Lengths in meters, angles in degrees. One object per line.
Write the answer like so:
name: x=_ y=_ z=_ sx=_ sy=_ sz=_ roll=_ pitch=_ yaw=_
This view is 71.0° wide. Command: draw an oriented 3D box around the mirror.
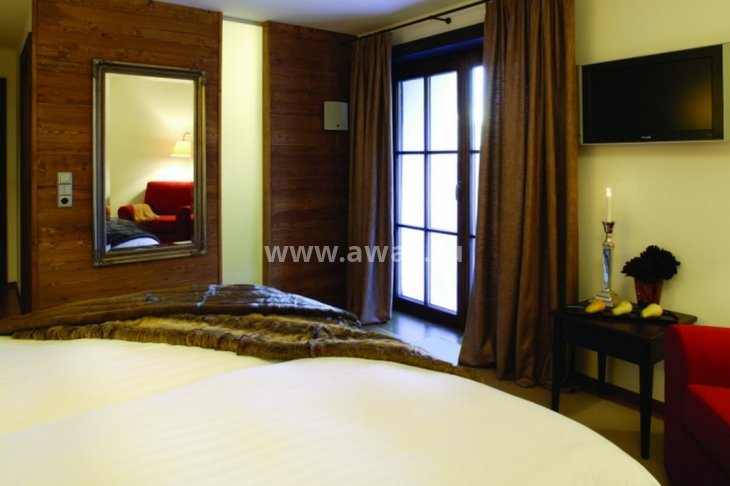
mirror: x=-1.802 y=-0.668 z=4.456 sx=0.082 sy=1.739 sz=1.098 roll=13 pitch=14 yaw=39

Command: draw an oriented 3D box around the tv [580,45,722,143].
tv: x=1.870 y=-0.950 z=3.272 sx=0.851 sy=0.498 sz=0.089 roll=2 pitch=5 yaw=40

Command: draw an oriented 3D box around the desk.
desk: x=1.691 y=0.815 z=3.300 sx=0.613 sy=0.607 sz=0.740 roll=-1 pitch=4 yaw=-27

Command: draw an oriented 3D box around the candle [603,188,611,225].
candle: x=1.658 y=-0.255 z=3.475 sx=0.056 sy=0.232 sz=0.335 roll=4 pitch=9 yaw=25

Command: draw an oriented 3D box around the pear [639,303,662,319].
pear: x=1.783 y=0.420 z=3.184 sx=0.122 sy=0.053 sz=0.083 roll=-19 pitch=25 yaw=-11

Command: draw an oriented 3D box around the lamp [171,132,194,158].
lamp: x=-1.600 y=-0.869 z=4.559 sx=0.194 sy=0.204 sz=0.230 roll=9 pitch=5 yaw=40

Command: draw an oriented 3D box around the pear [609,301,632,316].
pear: x=1.620 y=0.413 z=3.250 sx=0.139 sy=0.068 sz=0.073 roll=-18 pitch=23 yaw=4

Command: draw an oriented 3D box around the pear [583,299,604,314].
pear: x=1.489 y=0.405 z=3.300 sx=0.131 sy=0.053 sz=0.073 roll=-16 pitch=22 yaw=-26

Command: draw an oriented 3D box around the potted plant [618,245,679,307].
potted plant: x=1.860 y=0.227 z=3.343 sx=0.290 sy=0.283 sz=0.292 roll=-5 pitch=-8 yaw=15
